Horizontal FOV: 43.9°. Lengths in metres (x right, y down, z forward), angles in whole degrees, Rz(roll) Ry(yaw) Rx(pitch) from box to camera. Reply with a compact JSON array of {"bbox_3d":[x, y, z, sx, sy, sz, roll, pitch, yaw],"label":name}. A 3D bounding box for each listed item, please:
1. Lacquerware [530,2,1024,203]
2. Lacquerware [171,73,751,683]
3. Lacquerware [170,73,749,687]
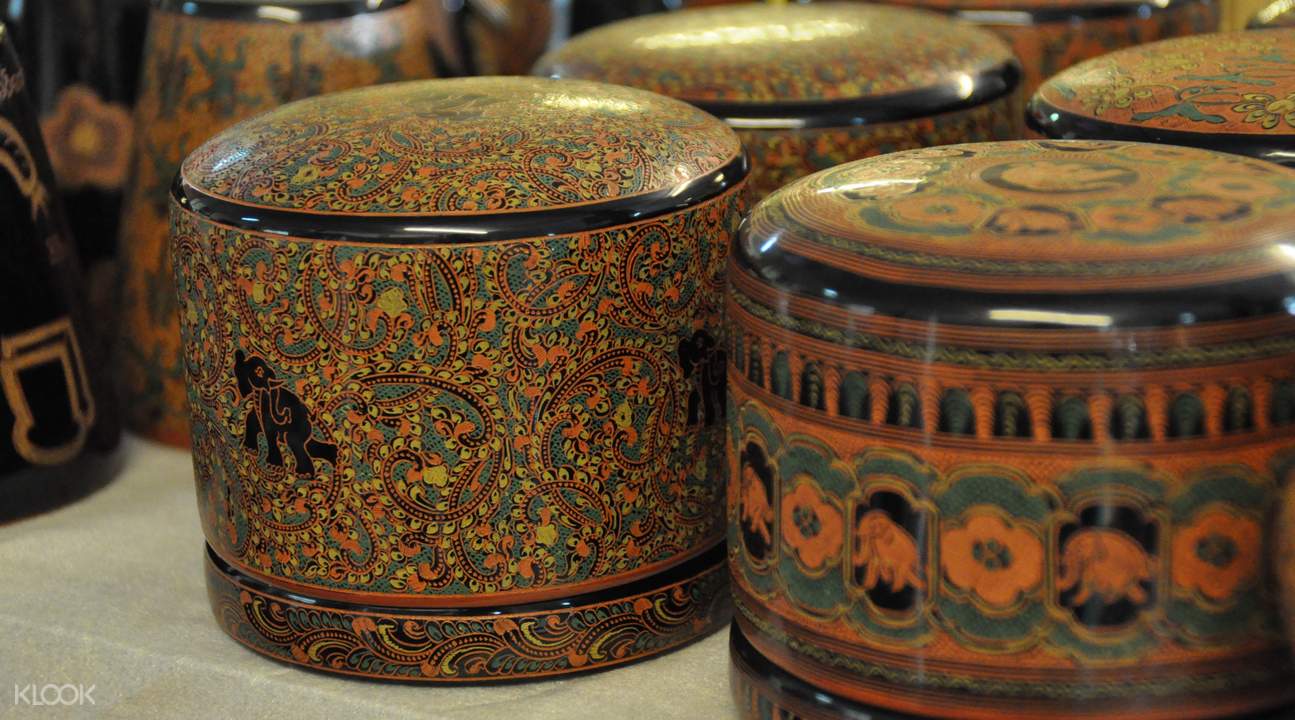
[{"bbox_3d":[0.256,-0.394,2.395,0.459,0.184,0.422,-1,18,1],"label":"Lacquerware"},{"bbox_3d":[-0.215,0.001,2.146,0.764,0.604,0.735,-16,26,-35],"label":"Lacquerware"},{"bbox_3d":[-0.187,-0.003,2.176,0.744,0.604,0.756,17,27,40],"label":"Lacquerware"}]
